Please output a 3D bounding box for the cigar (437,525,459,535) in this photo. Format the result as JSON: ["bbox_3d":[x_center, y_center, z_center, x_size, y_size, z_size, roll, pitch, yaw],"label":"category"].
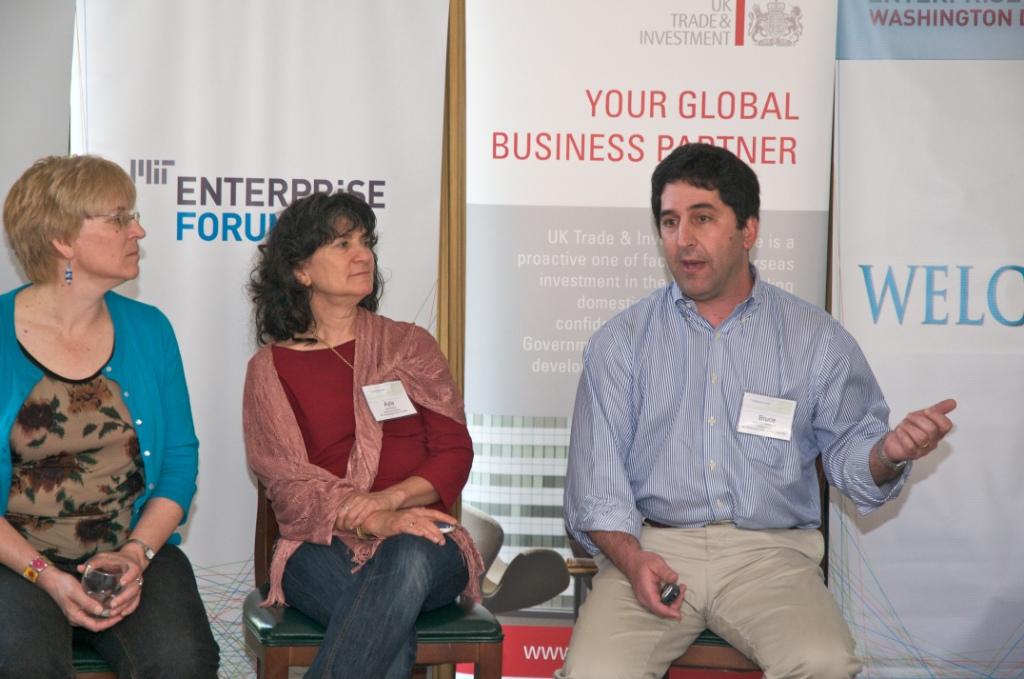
[{"bbox_3d":[-0.254,0.707,3.551,0.029,0.014,0.054,24,10,23],"label":"cigar"}]

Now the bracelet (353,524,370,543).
[{"bbox_3d":[-0.561,0.712,3.544,0.057,0.052,0.064,26,-6,-30],"label":"bracelet"}]

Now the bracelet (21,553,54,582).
[{"bbox_3d":[-1.680,0.803,3.358,0.078,0.086,0.079,5,-10,28],"label":"bracelet"}]

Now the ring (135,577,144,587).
[{"bbox_3d":[-1.352,0.874,3.432,0.024,0.038,0.034,9,-7,1],"label":"ring"}]

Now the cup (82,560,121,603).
[{"bbox_3d":[-1.435,0.851,3.316,0.108,0.133,0.112,0,1,0],"label":"cup"}]

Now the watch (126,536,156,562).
[{"bbox_3d":[-1.369,0.777,3.493,0.082,0.037,0.093,30,-24,37],"label":"watch"}]
